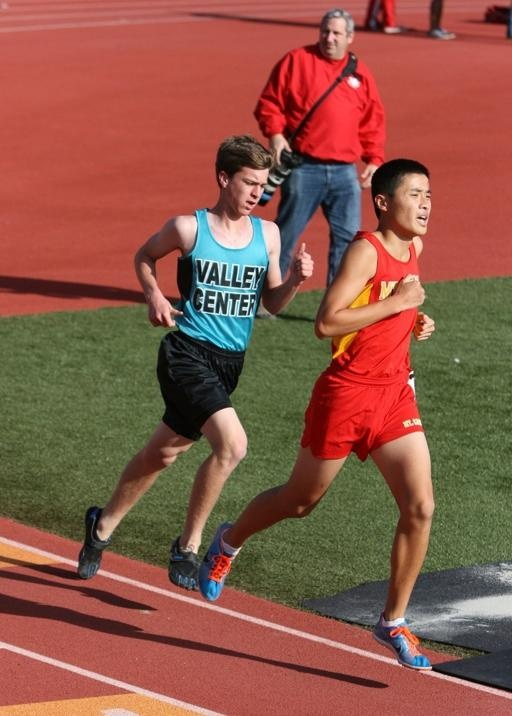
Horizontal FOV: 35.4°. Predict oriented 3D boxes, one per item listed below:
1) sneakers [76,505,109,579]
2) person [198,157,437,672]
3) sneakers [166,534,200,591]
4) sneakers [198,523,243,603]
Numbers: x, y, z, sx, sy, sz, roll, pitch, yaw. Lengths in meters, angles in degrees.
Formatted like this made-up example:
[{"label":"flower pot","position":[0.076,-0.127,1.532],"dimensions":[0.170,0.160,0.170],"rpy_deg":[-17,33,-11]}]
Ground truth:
[{"label":"sneakers","position":[-0.628,0.734,3.202],"dimensions":[0.114,0.283,0.136],"rpy_deg":[8,3,-38]},{"label":"person","position":[0.352,0.193,2.677],"dimensions":[0.857,1.683,0.458],"rpy_deg":[16,16,40]},{"label":"sneakers","position":[-0.258,0.755,2.987],"dimensions":[0.089,0.093,0.225],"rpy_deg":[12,32,-36]},{"label":"sneakers","position":[-0.104,0.779,3.005],"dimensions":[0.121,0.304,0.143],"rpy_deg":[28,-23,-20]}]
